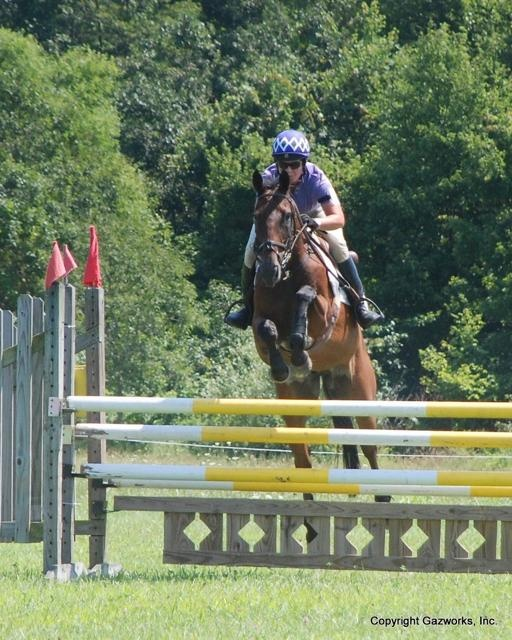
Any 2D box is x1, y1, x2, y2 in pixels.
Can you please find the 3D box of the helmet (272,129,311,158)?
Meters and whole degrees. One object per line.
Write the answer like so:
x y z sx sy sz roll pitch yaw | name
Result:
0.451 -2.191 21.915 0.444 0.366 0.356 -1 11 0 | helmet

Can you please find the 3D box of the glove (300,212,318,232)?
0.686 -1.201 21.686 0.114 0.114 0.312 0 18 -11 | glove

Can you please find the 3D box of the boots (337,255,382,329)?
1.327 -0.380 22.544 0.367 1.148 0.321 -24 -23 23 | boots
